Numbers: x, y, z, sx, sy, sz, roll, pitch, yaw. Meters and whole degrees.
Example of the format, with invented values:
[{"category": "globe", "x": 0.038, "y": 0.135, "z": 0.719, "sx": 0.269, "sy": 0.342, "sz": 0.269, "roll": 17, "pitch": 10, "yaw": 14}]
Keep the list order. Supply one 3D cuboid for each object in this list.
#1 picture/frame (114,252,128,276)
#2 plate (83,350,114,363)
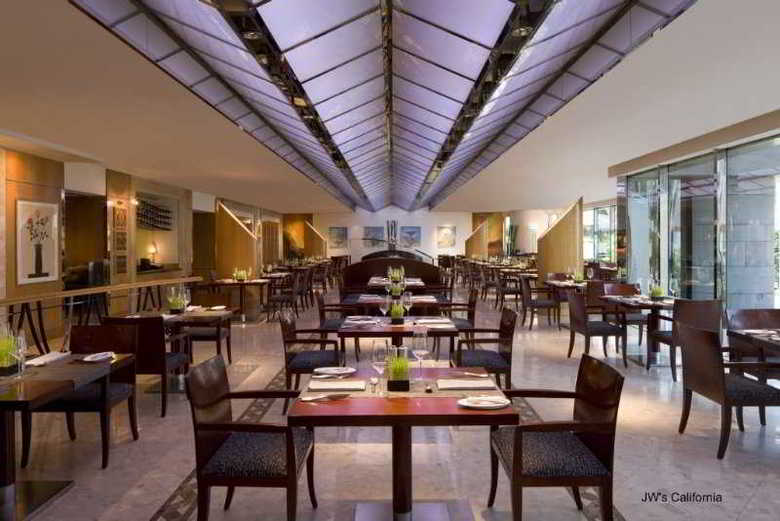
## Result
[{"category": "picture/frame", "x": -6.363, "y": 0.085, "z": 12.143, "sx": 0.076, "sy": 0.325, "sz": 0.343, "roll": 4, "pitch": 1, "yaw": 12}, {"category": "plate", "x": -2.703, "y": 0.890, "z": 4.763, "sx": 0.247, "sy": 0.074, "sz": 0.293, "roll": -1, "pitch": -1, "yaw": -35}]
